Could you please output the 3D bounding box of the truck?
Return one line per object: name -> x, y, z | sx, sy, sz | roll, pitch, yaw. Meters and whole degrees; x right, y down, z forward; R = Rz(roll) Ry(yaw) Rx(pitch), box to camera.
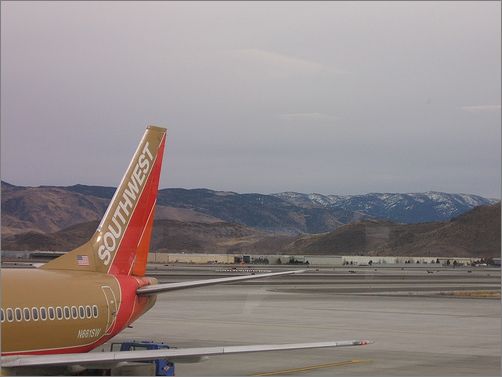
truck -> -3.638, 5.793, 22.956 | 1.495, 0.978, 2.576 | 0, 1, 38
